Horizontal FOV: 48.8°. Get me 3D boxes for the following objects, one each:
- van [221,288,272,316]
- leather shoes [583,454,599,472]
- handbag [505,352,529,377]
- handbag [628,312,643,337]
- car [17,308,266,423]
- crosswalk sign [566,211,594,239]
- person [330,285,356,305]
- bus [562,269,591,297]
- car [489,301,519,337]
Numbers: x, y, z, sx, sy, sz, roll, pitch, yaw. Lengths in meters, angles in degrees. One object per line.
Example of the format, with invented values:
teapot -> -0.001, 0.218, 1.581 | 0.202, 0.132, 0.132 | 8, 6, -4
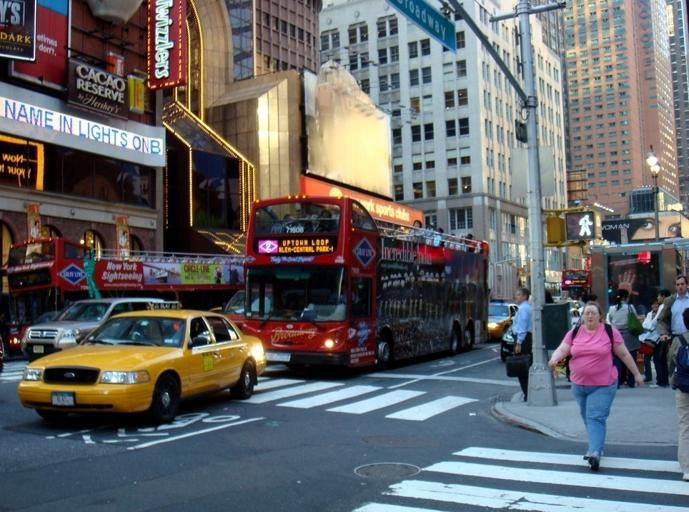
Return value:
van -> -3.017, 1.420, 23.487 | 1.656, 0.964, 1.067 | 5, -7, -36
leather shoes -> 3.799, 3.144, 11.691 | 0.096, 0.138, 0.327 | -1, -49, 28
handbag -> 3.760, 2.381, 16.667 | 0.580, 0.644, 0.382 | -3, -11, 11
handbag -> 7.012, 1.665, 18.437 | 0.256, 0.725, 0.656 | -6, -2, 15
car -> -3.919, 2.203, 15.375 | 2.026, 2.088, 4.708 | 2, 3, 34
crosswalk sign -> 5.192, -0.594, 16.877 | 0.641, 0.756, 0.502 | -2, -3, 25
person -> 0.050, 1.042, 20.314 | 0.673, 0.439, 0.267 | -1, 3, -24
bus -> 16.155, 1.855, 53.161 | 1.789, 3.190, 5.479 | 0, -5, 19
car -> 6.629, 2.672, 32.644 | 1.110, 1.034, 2.819 | -3, -8, 23
